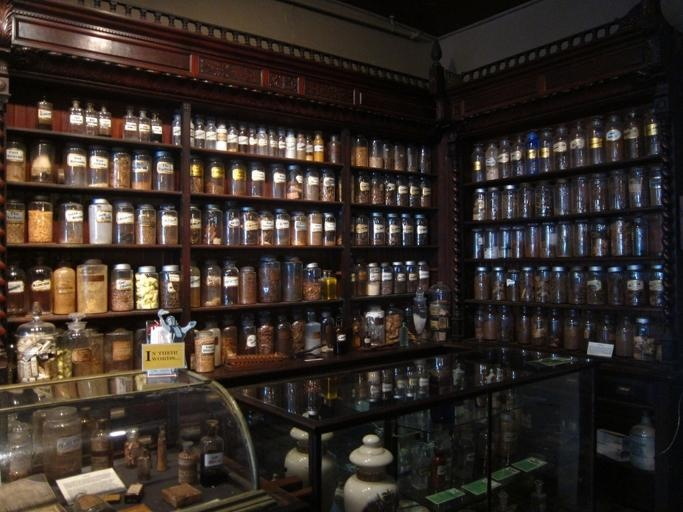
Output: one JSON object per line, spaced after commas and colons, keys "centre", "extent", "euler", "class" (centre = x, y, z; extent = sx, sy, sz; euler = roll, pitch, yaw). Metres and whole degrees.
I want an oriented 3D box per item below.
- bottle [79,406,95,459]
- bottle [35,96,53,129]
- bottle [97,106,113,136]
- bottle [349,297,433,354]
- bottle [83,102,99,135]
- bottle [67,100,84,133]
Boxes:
{"centre": [-0.918, 0.632, 2.158], "extent": [0.049, 0.180, 0.035], "euler": [1, -4, -25], "class": "bottle"}
{"centre": [-1.800, -0.862, 3.630], "extent": [0.086, 0.226, 0.137], "euler": [1, -3, -27], "class": "bottle"}
{"centre": [-1.482, -0.832, 3.734], "extent": [0.075, 0.212, 0.132], "euler": [1, -3, -22], "class": "bottle"}
{"centre": [0.368, 0.545, 4.687], "extent": [0.436, 0.354, 0.139], "euler": [4, -14, -27], "class": "bottle"}
{"centre": [-1.551, -0.848, 3.704], "extent": [0.080, 0.243, 0.145], "euler": [2, -4, -38], "class": "bottle"}
{"centre": [-1.629, -0.847, 3.671], "extent": [0.082, 0.215, 0.073], "euler": [-2, -3, 25], "class": "bottle"}
